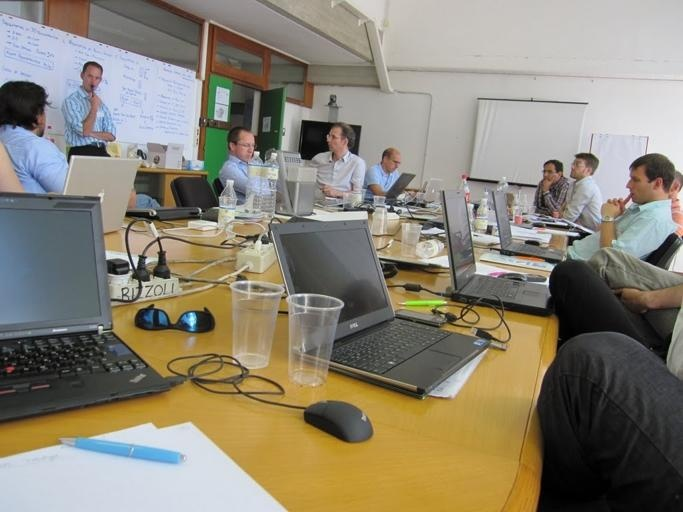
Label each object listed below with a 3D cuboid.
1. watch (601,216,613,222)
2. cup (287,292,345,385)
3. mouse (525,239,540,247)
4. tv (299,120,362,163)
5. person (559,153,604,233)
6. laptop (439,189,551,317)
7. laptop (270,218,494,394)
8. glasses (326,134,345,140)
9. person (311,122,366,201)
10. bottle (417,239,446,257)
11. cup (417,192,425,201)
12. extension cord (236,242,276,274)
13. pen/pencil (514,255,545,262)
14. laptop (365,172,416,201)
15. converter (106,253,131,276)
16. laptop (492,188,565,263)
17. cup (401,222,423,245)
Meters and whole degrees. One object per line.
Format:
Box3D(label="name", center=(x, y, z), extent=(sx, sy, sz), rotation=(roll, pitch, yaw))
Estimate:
Box3D(label="watch", center=(1.783, -0.254, 3.269), extent=(0.052, 0.034, 0.048), rotation=(1, -17, -11))
Box3D(label="cup", center=(-0.069, 0.144, 0.998), extent=(0.112, 0.135, 0.115), rotation=(8, 1, 0))
Box3D(label="mouse", center=(1.202, -0.085, 3.072), extent=(0.098, 0.033, 0.054), rotation=(-4, 15, -35))
Box3D(label="tv", center=(-0.214, -2.099, 8.953), extent=(1.127, 0.775, 0.078), rotation=(-1, 31, -16))
Box3D(label="person", center=(2.777, -0.720, 5.791), extent=(0.542, 0.972, 0.505), rotation=(-2, 13, -14))
Box3D(label="laptop", center=(0.574, -0.031, 1.760), extent=(0.408, 0.369, 0.491), rotation=(8, 9, 17))
Box3D(label="laptop", center=(0.117, 0.091, 1.157), extent=(0.522, 0.297, 0.471), rotation=(-3, 10, -43))
Box3D(label="glasses", center=(-0.056, -1.329, 5.415), extent=(0.134, 0.079, 0.098), rotation=(2, 7, -22))
Box3D(label="person", center=(-0.068, -1.069, 5.606), extent=(0.707, 0.902, 0.548), rotation=(11, 14, 17))
Box3D(label="bottle", center=(0.401, -0.029, 2.226), extent=(0.132, 0.079, 0.129), rotation=(0, -2, 0))
Box3D(label="cup", center=(0.851, -0.650, 5.266), extent=(0.090, 0.094, 0.108), rotation=(0, -9, 3))
Box3D(label="extension cord", center=(-0.299, 0.005, 1.725), extent=(0.082, 0.045, 0.170), rotation=(5, 10, 11))
Box3D(label="pen/pencil", center=(0.982, 0.013, 2.541), extent=(0.122, 0.017, 0.018), rotation=(8, 2, 31))
Box3D(label="laptop", center=(0.560, -0.853, 5.931), extent=(0.403, 0.359, 0.560), rotation=(37, 19, 18))
Box3D(label="converter", center=(-0.584, 0.019, 1.281), extent=(0.043, 0.031, 0.058), rotation=(-13, 26, -43))
Box3D(label="laptop", center=(1.034, -0.162, 2.713), extent=(0.386, 0.297, 0.435), rotation=(11, 12, 35))
Box3D(label="cup", center=(0.340, -0.103, 2.266), extent=(0.105, 0.104, 0.086), rotation=(3, 5, 18))
